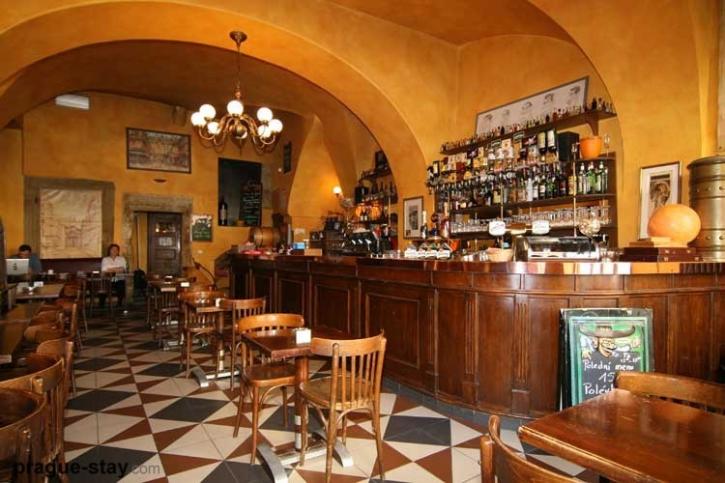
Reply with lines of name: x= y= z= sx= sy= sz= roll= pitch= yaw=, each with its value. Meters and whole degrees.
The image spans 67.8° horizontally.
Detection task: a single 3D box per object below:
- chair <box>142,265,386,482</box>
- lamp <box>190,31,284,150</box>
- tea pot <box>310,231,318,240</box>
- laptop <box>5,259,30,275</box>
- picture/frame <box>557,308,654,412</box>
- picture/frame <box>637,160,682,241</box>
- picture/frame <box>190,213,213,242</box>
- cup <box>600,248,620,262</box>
chair: x=-0.913 y=1.648 z=6.164 sx=1.157 sy=1.507 sz=2.217 roll=2 pitch=-4 yaw=-38
lamp: x=-2.477 y=-3.031 z=10.572 sx=1.831 sy=2.102 sz=1.684 roll=6 pitch=11 yaw=26
tea pot: x=-0.967 y=-0.125 z=11.006 sx=0.146 sy=0.174 sz=0.259 roll=-2 pitch=1 yaw=-26
laptop: x=-6.049 y=0.428 z=9.463 sx=0.396 sy=0.286 sz=0.283 roll=2 pitch=5 yaw=-32
picture/frame: x=2.621 y=1.251 z=5.751 sx=1.126 sy=1.412 sz=0.147 roll=1 pitch=-6 yaw=-1
picture/frame: x=4.022 y=-0.632 z=7.312 sx=0.493 sy=0.861 sz=0.277 roll=7 pitch=16 yaw=25
picture/frame: x=-4.313 y=-0.390 z=14.385 sx=0.752 sy=0.930 sz=0.102 roll=-2 pitch=1 yaw=-20
cup: x=2.916 y=0.159 z=6.345 sx=0.170 sy=0.135 sz=0.186 roll=0 pitch=3 yaw=0
